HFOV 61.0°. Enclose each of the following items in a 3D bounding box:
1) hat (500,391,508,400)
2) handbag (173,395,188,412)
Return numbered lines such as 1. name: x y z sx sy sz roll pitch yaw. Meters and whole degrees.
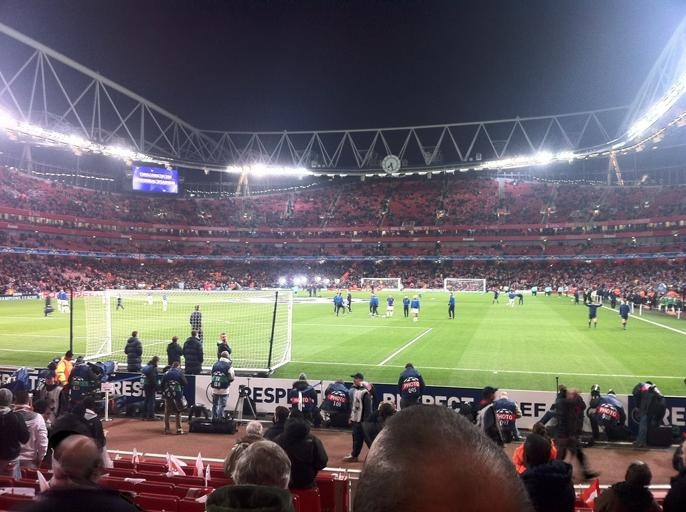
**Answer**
1. hat: 4.935 4.208 17.563 0.225 0.205 0.311 5 -27 5
2. handbag: -5.237 4.755 18.716 0.483 0.490 0.383 6 -6 -12
